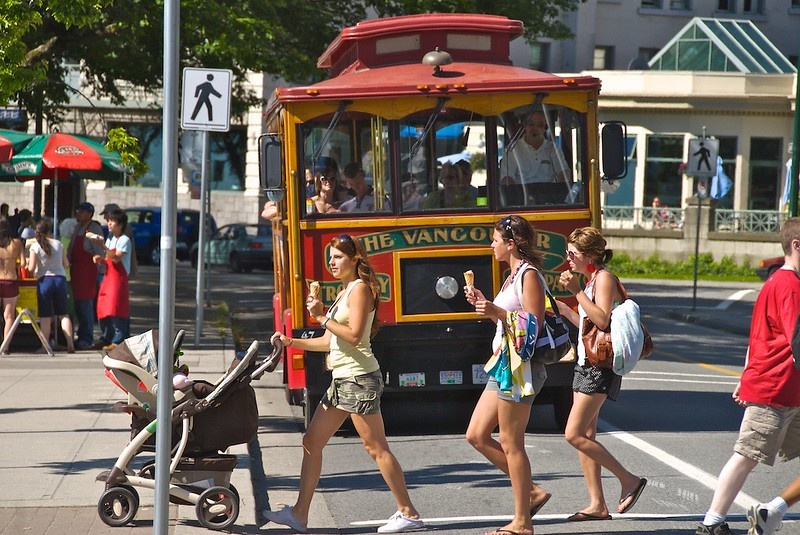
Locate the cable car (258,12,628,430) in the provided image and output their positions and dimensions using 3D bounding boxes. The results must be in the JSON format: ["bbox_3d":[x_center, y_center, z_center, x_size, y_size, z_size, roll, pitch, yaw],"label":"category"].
[{"bbox_3d":[2.036,0.134,27.850,5.772,7.695,10.241,-2,-11,12],"label":"cable car"}]

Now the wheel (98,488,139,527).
[{"bbox_3d":[-3.910,3.345,20.622,0.500,0.522,0.211,3,-1,-7],"label":"wheel"}]

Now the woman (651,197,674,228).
[{"bbox_3d":[8.751,-1.826,50.063,0.635,0.933,2.439,2,4,8],"label":"woman"}]

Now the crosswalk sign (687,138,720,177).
[{"bbox_3d":[7.090,-2.618,35.054,0.692,0.896,0.639,1,4,1],"label":"crosswalk sign"}]

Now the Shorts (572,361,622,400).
[{"bbox_3d":[2.747,1.610,20.887,0.734,0.546,0.439,6,-13,2],"label":"Shorts"}]

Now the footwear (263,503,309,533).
[{"bbox_3d":[-1.588,3.482,20.805,0.767,0.339,0.265,21,-1,-6],"label":"footwear"}]

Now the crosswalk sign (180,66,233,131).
[{"bbox_3d":[-3.256,-2.864,24.958,0.805,1.095,0.110,1,25,-13],"label":"crosswalk sign"}]

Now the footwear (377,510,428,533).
[{"bbox_3d":[0.029,3.554,20.669,0.693,0.290,0.260,1,-3,-2],"label":"footwear"}]

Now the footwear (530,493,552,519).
[{"bbox_3d":[1.925,3.396,20.897,0.134,0.517,0.199,16,23,-25],"label":"footwear"}]

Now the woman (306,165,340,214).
[{"bbox_3d":[-1.240,-1.231,23.364,0.586,0.946,0.474,2,-18,-9],"label":"woman"}]
